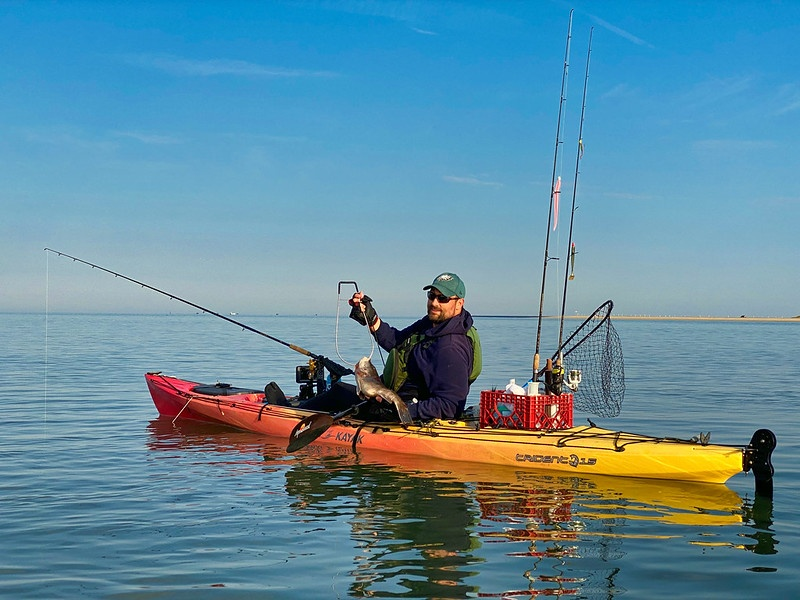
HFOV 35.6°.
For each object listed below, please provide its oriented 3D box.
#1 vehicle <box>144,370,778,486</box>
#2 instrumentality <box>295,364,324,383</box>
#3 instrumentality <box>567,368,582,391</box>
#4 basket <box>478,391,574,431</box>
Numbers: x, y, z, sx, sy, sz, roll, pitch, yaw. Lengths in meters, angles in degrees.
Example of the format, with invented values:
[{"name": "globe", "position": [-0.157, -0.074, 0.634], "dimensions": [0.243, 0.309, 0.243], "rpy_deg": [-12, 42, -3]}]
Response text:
[{"name": "vehicle", "position": [-1.234, 1.927, 21.608], "dimensions": [16.534, 1.339, 2.610], "rpy_deg": [-1, -6, 32]}, {"name": "instrumentality", "position": [-1.556, 1.262, 21.412], "dimensions": [0.720, 0.293, 0.335], "rpy_deg": [0, -2, -16]}, {"name": "instrumentality", "position": [2.651, 1.225, 19.096], "dimensions": [0.217, 0.325, 0.330], "rpy_deg": [2, -3, 6]}, {"name": "basket", "position": [1.974, 1.708, 19.263], "dimensions": [1.274, 0.362, 0.866], "rpy_deg": [4, -4, -43]}]
